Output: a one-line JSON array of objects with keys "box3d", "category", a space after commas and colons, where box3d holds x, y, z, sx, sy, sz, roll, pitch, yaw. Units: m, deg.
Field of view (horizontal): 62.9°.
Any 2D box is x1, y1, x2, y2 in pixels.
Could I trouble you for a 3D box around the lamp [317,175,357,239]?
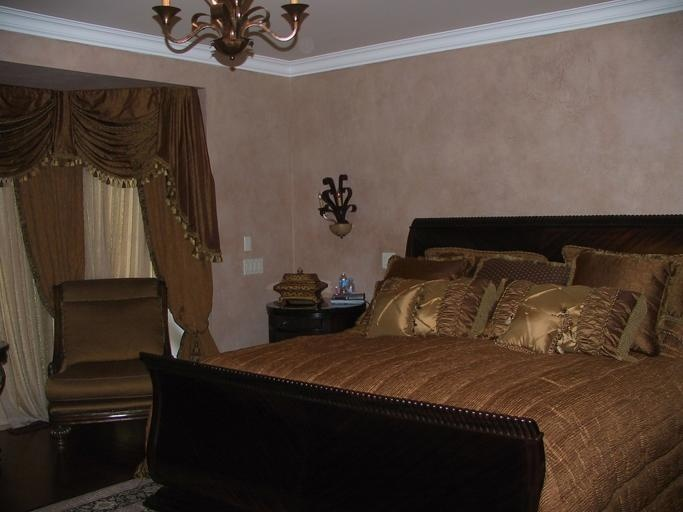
[{"box3d": [-0.026, -0.480, 5.338, 0.333, 0.646, 0.339, -8, 19, -1], "category": "lamp"}]
